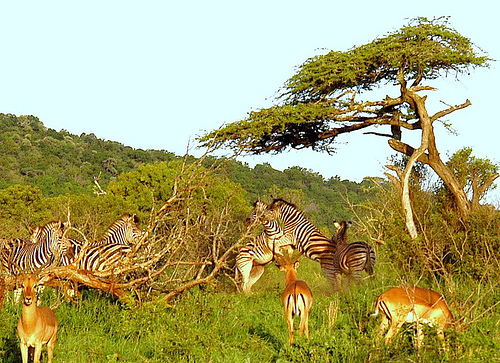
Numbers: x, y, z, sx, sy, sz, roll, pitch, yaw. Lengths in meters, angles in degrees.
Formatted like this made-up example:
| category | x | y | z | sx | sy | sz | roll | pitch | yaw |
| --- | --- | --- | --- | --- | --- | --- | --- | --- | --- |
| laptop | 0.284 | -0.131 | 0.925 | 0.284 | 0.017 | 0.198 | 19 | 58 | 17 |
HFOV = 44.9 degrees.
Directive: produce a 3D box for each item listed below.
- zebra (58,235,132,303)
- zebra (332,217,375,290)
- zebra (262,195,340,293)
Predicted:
| category | x | y | z | sx | sy | sz | roll | pitch | yaw |
| --- | --- | --- | --- | --- | --- | --- | --- | --- | --- |
| zebra | -4.096 | 2.110 | 15.594 | 2.434 | 1.998 | 0.735 | -2 | -5 | 7 |
| zebra | 2.984 | 2.263 | 18.041 | 0.751 | 2.246 | 2.518 | 4 | -3 | -16 |
| zebra | 1.650 | 1.964 | 19.033 | 0.737 | 2.197 | 3.450 | 3 | 13 | -44 |
